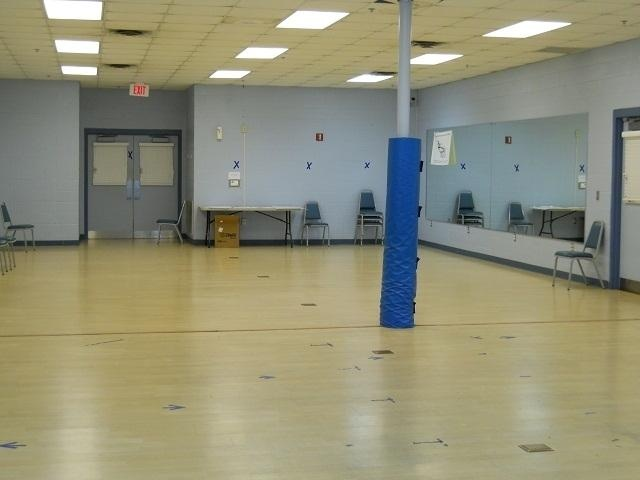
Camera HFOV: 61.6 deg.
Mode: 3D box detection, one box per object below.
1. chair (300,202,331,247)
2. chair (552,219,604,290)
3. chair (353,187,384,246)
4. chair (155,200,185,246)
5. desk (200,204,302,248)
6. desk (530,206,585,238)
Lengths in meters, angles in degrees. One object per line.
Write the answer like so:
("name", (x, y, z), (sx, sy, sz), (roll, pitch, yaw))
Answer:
("chair", (-0.134, -0.442, 14.088), (0.748, 1.149, 0.574), (1, 6, -1))
("chair", (4.343, 0.238, 9.042), (0.690, 1.105, 0.673), (0, 3, 7))
("chair", (1.347, -0.612, 14.362), (0.819, 1.449, 0.490), (-1, 6, -16))
("chair", (-4.141, -0.502, 14.959), (0.788, 1.145, 0.723), (1, 2, -17))
("desk", (-1.822, -0.314, 13.748), (2.410, 0.979, 0.801), (0, 0, -13))
("desk", (4.290, -0.347, 10.035), (0.412, 0.371, 0.758), (-4, -16, 6))
